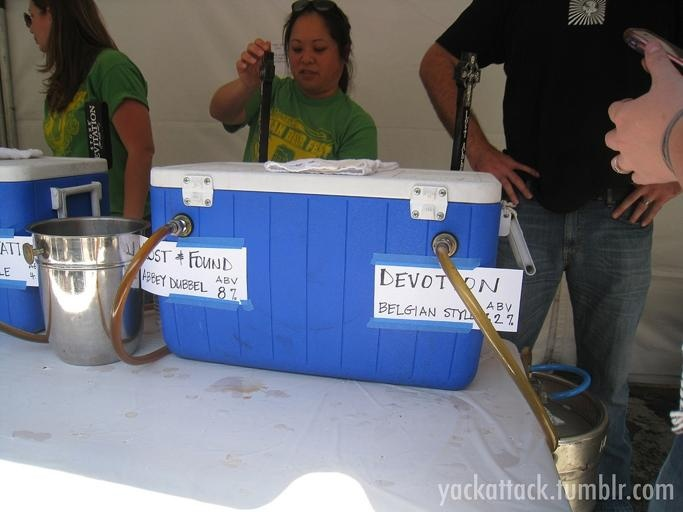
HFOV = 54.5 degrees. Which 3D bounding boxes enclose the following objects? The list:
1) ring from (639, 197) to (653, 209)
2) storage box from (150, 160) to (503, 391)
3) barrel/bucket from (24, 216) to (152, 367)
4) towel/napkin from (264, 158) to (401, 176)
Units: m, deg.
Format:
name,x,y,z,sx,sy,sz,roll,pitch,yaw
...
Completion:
name,x,y,z,sx,sy,sz,roll,pitch,yaw
ring,0.872,-0.153,1.894,0.028,0.027,0.025,8,33,-42
storage box,-0.016,0.012,1.661,0.834,0.488,0.517,4,14,10
barrel/bucket,-0.545,0.048,1.561,0.262,0.323,0.300,4,9,18
towel/napkin,-0.023,-0.221,1.498,0.222,0.056,0.184,5,13,29
